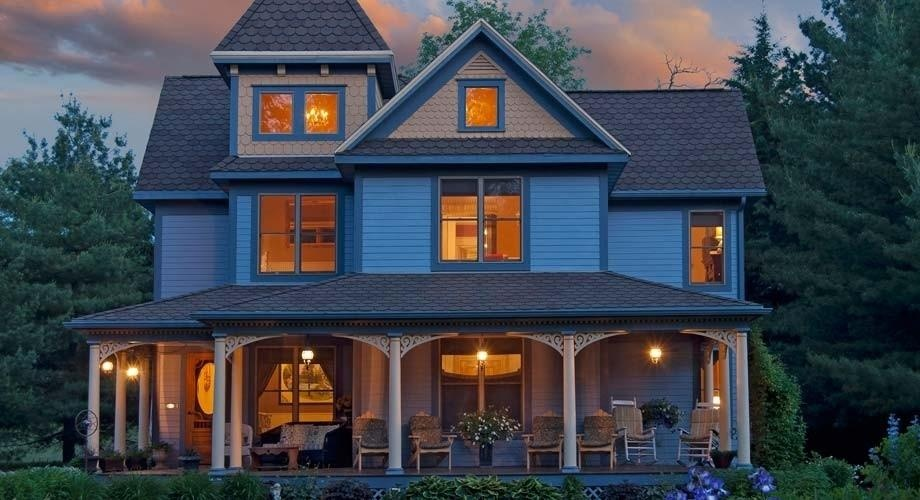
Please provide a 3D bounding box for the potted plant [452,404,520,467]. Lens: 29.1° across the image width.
[{"bbox_3d":[1.211,9.474,87.862,3.097,2.981,1.427,-1,-10,-2],"label":"potted plant"}]
